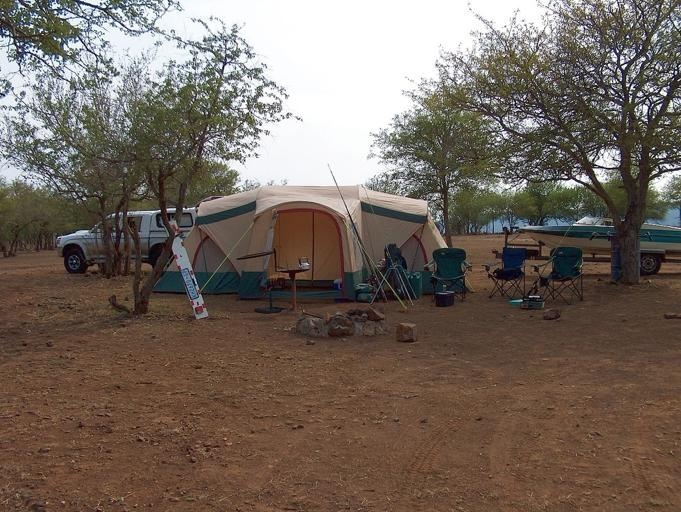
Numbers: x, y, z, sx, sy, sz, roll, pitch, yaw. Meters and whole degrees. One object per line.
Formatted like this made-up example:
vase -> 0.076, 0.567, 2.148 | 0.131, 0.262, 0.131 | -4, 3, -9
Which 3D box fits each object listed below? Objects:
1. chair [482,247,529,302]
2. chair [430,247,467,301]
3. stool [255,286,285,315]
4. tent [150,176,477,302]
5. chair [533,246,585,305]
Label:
chair -> 3.988, 0.395, 12.908 | 1.270, 1.125, 1.281 | 4, 10, 31
chair -> 2.506, 0.415, 12.611 | 0.907, 1.130, 0.876 | -1, 7, 3
stool -> -1.537, 0.976, 11.804 | 0.559, 0.356, 0.529 | -1, 7, -8
tent -> -0.845, -0.372, 13.515 | 6.042, 2.767, 2.280 | -1, 10, -4
chair -> 5.150, 0.426, 12.673 | 0.983, 1.133, 0.987 | -1, -6, 21
